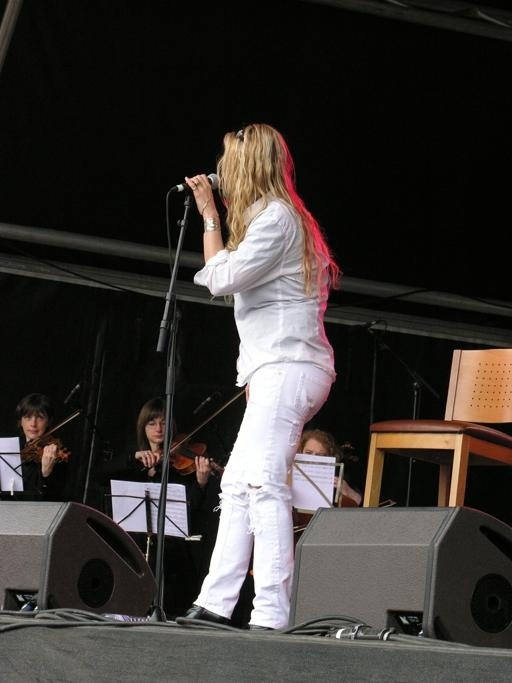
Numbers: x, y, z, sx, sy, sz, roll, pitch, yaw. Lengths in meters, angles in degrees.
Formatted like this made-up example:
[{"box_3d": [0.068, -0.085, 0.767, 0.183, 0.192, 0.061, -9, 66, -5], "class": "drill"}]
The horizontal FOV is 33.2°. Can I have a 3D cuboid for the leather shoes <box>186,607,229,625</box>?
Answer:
[{"box_3d": [-0.133, 0.763, 2.394, 0.114, 0.044, 0.175, 7, -8, -4], "class": "leather shoes"}]

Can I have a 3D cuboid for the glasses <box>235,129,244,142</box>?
[{"box_3d": [-0.053, -0.689, 2.862, 0.015, 0.040, 0.042, 1, 23, -7], "class": "glasses"}]

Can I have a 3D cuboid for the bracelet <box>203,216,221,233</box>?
[{"box_3d": [-0.140, -0.374, 2.763, 0.052, 0.034, 0.051, -6, -10, 39], "class": "bracelet"}]

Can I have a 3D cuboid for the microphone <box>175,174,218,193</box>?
[{"box_3d": [-0.179, -0.530, 2.906, 0.068, 0.058, 0.204, 16, 15, 32], "class": "microphone"}]

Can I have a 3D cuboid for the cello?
[{"box_3d": [0.406, 0.928, 5.135, 0.399, 0.486, 0.393, -6, 12, 8], "class": "cello"}]

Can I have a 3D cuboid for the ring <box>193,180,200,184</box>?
[{"box_3d": [-0.197, -0.527, 2.831, 0.016, 0.013, 0.005, 6, -4, -7], "class": "ring"}]
